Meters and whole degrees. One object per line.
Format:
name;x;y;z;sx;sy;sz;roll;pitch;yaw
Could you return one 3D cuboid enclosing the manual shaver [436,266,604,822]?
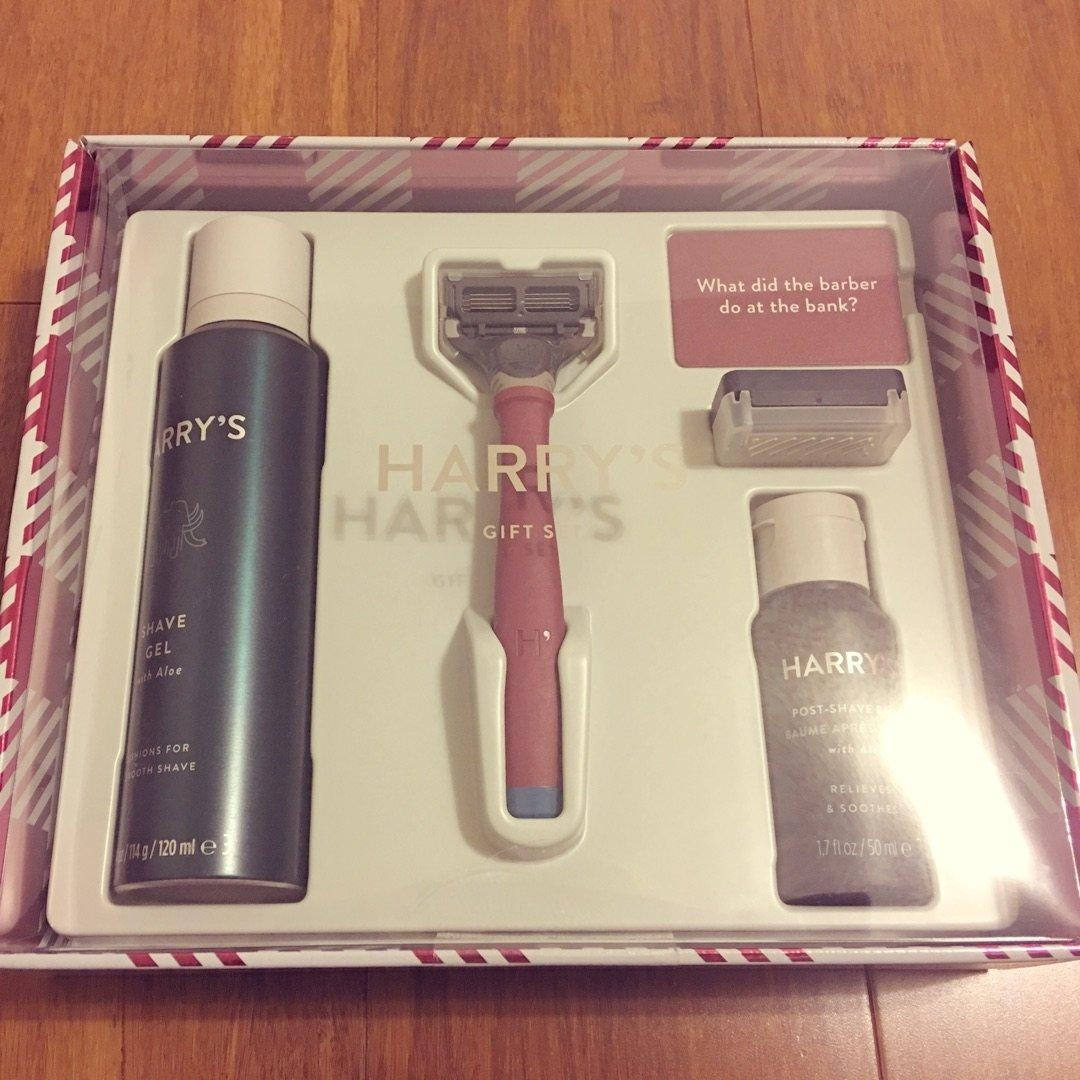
manual shaver;0.003;0.002;0.432;0.066;0.030;0.207;0;78;-2
